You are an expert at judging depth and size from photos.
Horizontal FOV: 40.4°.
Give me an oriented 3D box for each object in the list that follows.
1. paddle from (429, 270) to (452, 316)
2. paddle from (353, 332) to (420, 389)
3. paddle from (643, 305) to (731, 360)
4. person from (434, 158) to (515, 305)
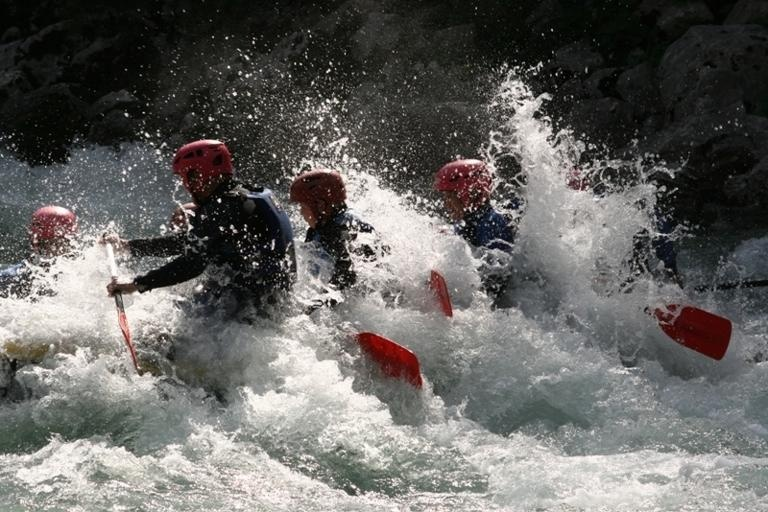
[{"bbox_3d":[0.726,0.456,13.214,0.101,0.191,0.665,19,33,-37],"label":"paddle"},{"bbox_3d":[0.103,1.229,12.623,1.054,0.343,0.124,32,11,28],"label":"paddle"},{"bbox_3d":[4.009,0.914,13.560,1.040,0.467,0.184,22,-3,31],"label":"paddle"},{"bbox_3d":[1.193,-0.334,13.700,1.144,1.828,0.656,8,8,6],"label":"person"}]
